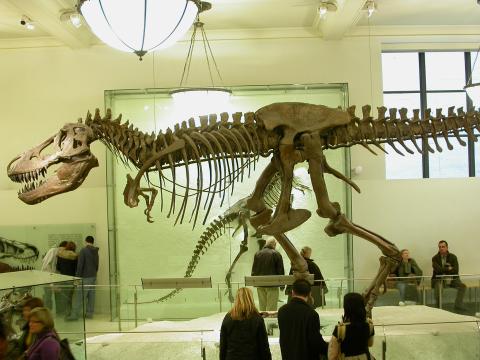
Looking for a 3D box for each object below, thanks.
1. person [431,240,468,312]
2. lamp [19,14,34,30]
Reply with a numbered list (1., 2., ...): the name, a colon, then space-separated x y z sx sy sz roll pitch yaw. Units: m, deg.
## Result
1. person: 3.913 1.827 8.195 0.761 1.282 0.656 2 -7 -25
2. lamp: -4.174 -3.067 8.392 0.265 0.123 0.340 -27 42 -19
